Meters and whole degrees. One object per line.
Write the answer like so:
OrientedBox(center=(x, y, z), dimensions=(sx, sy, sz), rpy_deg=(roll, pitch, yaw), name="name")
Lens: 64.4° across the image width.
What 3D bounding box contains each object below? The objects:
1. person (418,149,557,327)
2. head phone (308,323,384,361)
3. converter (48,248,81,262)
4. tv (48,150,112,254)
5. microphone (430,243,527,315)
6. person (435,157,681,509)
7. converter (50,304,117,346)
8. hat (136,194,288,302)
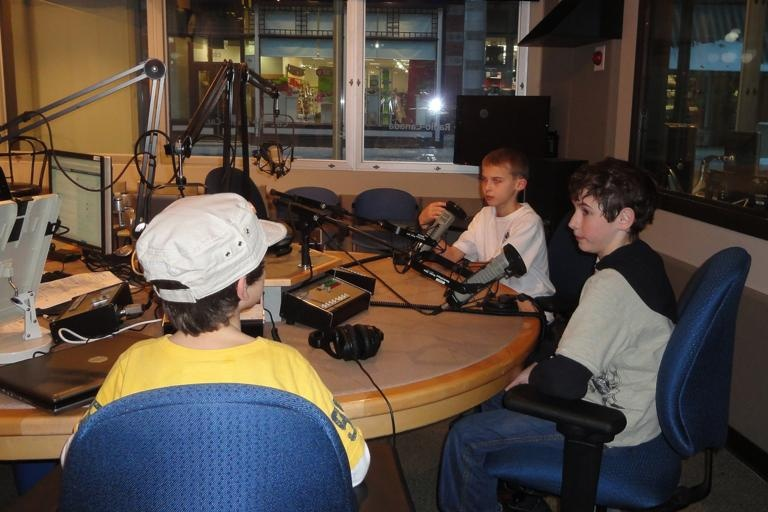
OrientedBox(center=(0.535, 0.056, 3.023), dimensions=(0.689, 1.062, 0.552), rpy_deg=(-5, 11, 1), name="person")
OrientedBox(center=(-0.125, 0.291, 2.105), dimensions=(0.274, 0.123, 0.197), rpy_deg=(6, 3, 37), name="head phone")
OrientedBox(center=(-1.573, -0.016, 2.998), dimensions=(0.119, 0.047, 0.074), rpy_deg=(8, 9, 16), name="converter")
OrientedBox(center=(-1.315, -0.238, 2.646), dimensions=(0.411, 0.297, 0.036), rpy_deg=(24, 21, 32), name="tv")
OrientedBox(center=(0.352, 0.086, 2.409), dimensions=(0.369, 0.159, 0.157), rpy_deg=(-35, -23, 17), name="microphone")
OrientedBox(center=(0.655, 0.314, 2.094), dimensions=(0.797, 1.232, 0.552), rpy_deg=(-12, 19, -40), name="person")
OrientedBox(center=(-1.044, 0.228, 2.128), dimensions=(0.128, 0.089, 0.185), rpy_deg=(-24, 2, 31), name="converter")
OrientedBox(center=(-0.456, -0.049, 1.704), dimensions=(0.307, 0.187, 0.405), rpy_deg=(15, 31, 36), name="hat")
